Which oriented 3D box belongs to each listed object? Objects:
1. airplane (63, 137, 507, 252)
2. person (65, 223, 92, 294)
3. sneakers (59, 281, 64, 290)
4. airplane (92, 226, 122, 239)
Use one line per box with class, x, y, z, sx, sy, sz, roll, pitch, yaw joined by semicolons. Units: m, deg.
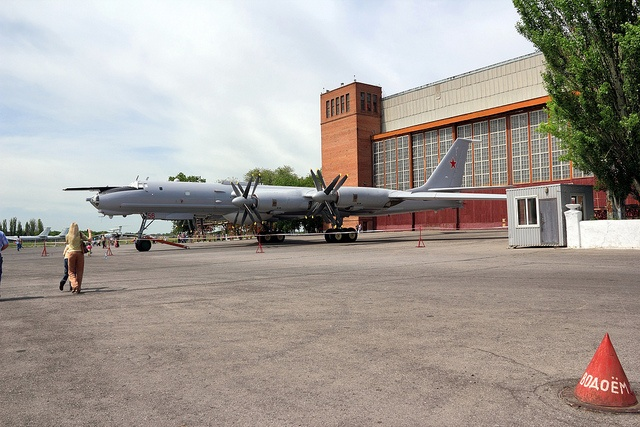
airplane;-1.715;-1.829;34.103;28.761;8.082;17.244;-2;3;-5
person;-6.666;1.200;10.995;0.477;1.837;1.142;-4;4;-32
sneakers;-7.152;1.995;11.078;0.099;0.269;0.116;2;14;-12
airplane;-22.860;2.266;43.257;3.087;1.202;2.951;-5;8;-12
